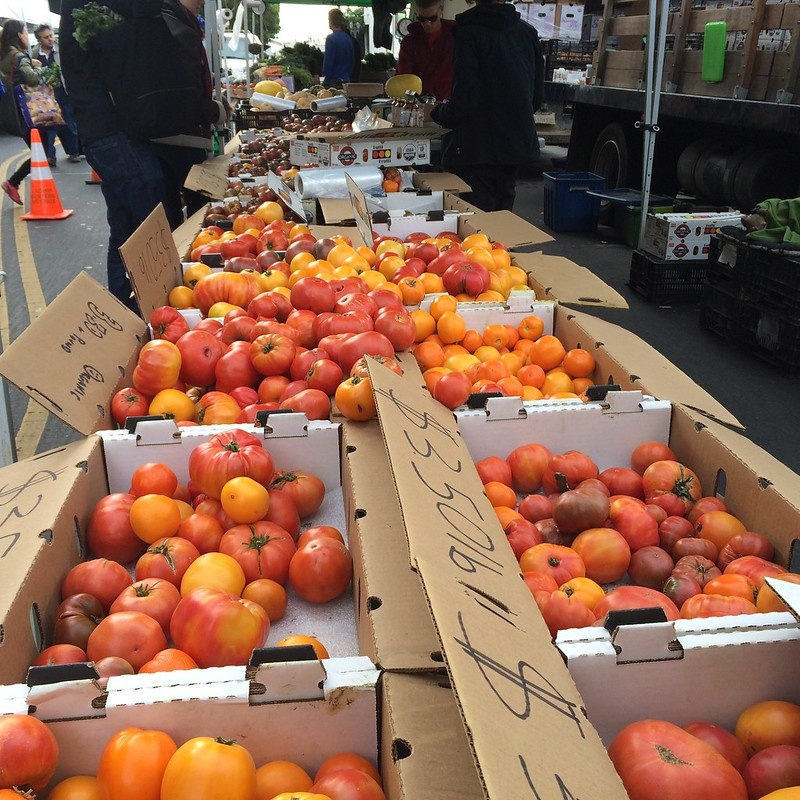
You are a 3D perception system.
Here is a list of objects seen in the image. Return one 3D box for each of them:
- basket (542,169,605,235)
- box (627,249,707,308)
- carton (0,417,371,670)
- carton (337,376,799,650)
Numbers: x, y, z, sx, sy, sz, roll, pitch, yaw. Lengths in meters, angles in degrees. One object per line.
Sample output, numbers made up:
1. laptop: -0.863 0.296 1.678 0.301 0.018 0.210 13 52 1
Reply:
1. basket: 2.465 -2.750 8.615 0.751 0.655 1.014 0 20 0
2. box: 2.677 -1.195 6.155 0.653 0.364 0.618 0 16 1
3. carton: -0.362 0.467 1.791 0.723 0.202 0.615 -6 50 -6
4. carton: 0.529 0.338 1.599 0.766 0.229 0.806 2 37 -20
